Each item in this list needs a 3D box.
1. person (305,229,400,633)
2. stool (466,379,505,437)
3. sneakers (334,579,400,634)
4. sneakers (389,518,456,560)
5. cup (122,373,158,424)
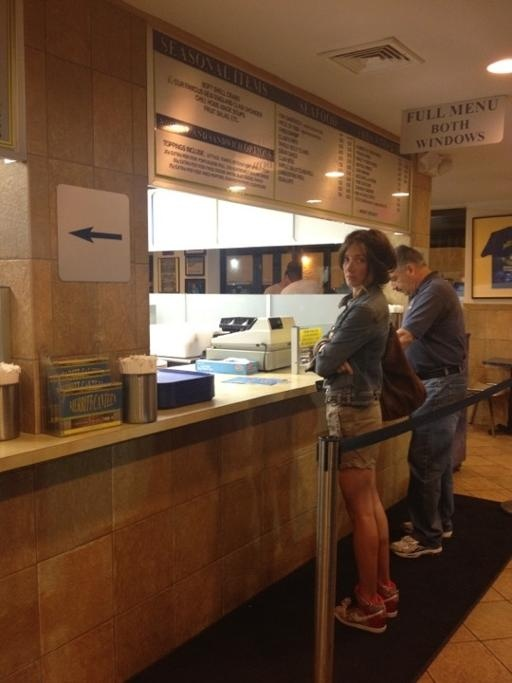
[{"bbox_3d":[0.411,0.337,2.139,0.461,1.531,0.275,0,5,-38],"label":"person"},{"bbox_3d":[2.282,0.679,5.496,0.361,0.561,1.344,5,5,25],"label":"stool"},{"bbox_3d":[0.411,1.036,2.221,0.109,0.144,0.321,-1,-2,-31],"label":"sneakers"},{"bbox_3d":[0.855,1.039,2.893,0.366,0.195,0.125,5,-4,-12],"label":"sneakers"},{"bbox_3d":[-0.343,0.169,1.695,0.122,0.138,0.130,0,-1,0],"label":"cup"}]
